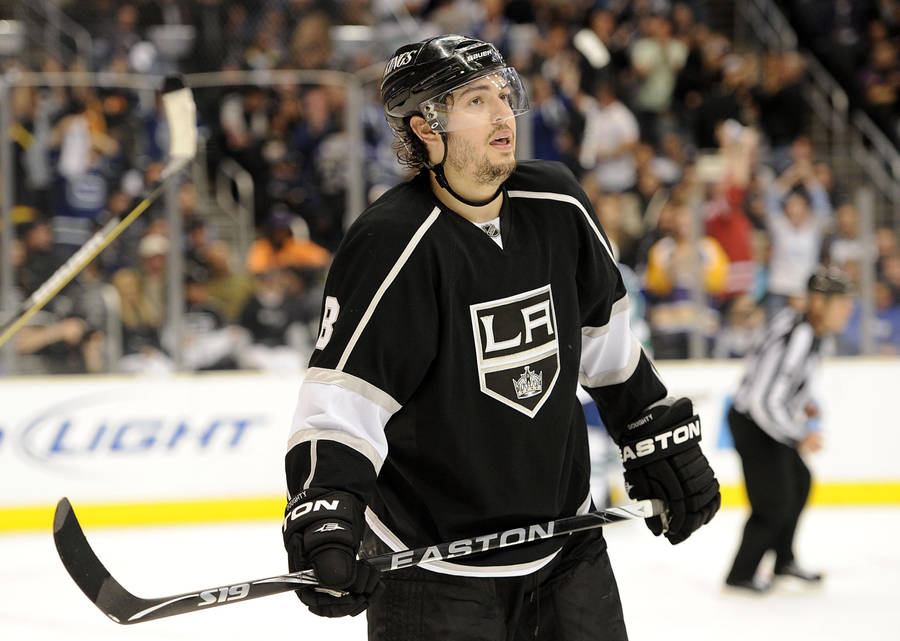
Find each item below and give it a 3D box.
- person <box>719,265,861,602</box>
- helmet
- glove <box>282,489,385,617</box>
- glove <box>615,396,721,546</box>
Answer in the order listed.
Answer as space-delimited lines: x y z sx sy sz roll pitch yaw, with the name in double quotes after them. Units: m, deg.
1.925 0.645 9.234 0.822 1.575 0.422 -11 -5 43 "person"
-0.052 -1.042 7.078 0.437 0.463 0.354 -24 5 14 "helmet"
-0.507 0.977 6.828 0.338 0.567 0.233 -7 -3 29 "glove"
1.038 0.634 7.364 0.435 0.641 0.260 -29 -2 20 "glove"
